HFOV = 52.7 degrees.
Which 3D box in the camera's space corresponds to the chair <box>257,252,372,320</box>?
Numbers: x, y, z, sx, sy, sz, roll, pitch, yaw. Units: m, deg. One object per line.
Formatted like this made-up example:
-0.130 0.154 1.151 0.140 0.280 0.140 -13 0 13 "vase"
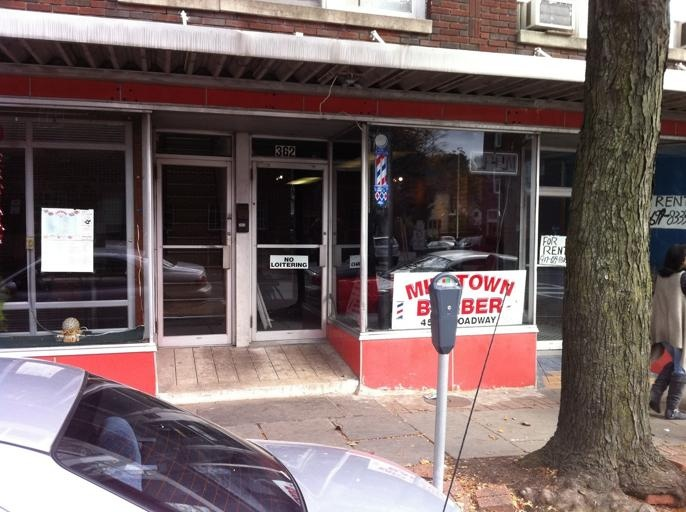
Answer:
-0.327 0.299 9.799 1.110 0.741 1.119 6 -37 -4 "chair"
